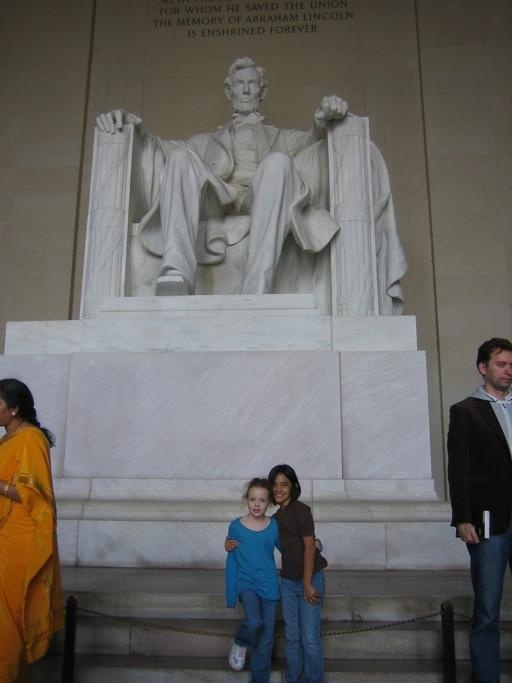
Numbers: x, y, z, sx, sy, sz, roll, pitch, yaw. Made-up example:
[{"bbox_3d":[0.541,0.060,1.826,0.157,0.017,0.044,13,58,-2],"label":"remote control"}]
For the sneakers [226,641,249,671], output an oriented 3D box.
[{"bbox_3d":[-0.073,1.211,3.277,0.055,0.068,0.160,16,-29,5],"label":"sneakers"}]
